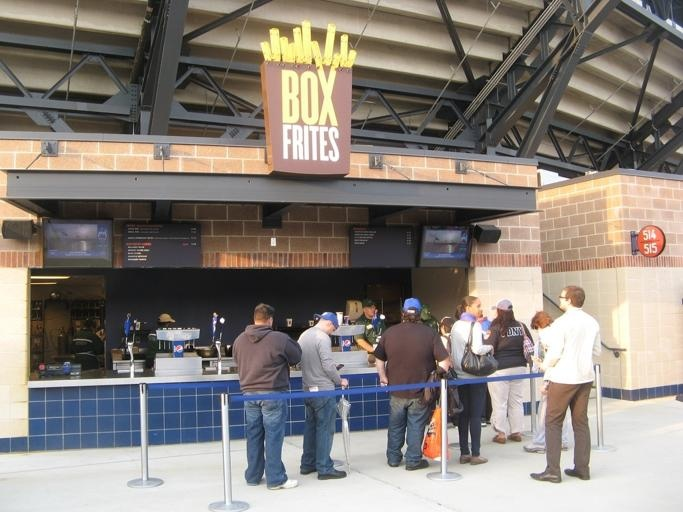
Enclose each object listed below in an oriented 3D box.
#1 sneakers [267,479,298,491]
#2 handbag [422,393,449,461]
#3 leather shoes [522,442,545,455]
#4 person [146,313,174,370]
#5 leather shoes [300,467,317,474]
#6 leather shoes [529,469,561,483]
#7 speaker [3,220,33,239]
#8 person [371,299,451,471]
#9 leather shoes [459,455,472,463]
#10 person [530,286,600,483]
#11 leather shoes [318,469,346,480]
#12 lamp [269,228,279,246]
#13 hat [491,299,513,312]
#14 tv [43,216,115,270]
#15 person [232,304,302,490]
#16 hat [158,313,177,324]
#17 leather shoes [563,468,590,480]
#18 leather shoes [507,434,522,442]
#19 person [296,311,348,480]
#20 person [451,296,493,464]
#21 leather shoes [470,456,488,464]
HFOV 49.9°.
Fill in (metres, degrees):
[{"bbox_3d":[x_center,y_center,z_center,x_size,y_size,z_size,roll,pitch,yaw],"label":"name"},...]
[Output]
[{"bbox_3d":[-0.759,2.980,9.648,0.357,0.143,0.130,-3,-1,-10],"label":"sneakers"},{"bbox_3d":[1.238,2.382,9.966,0.240,0.796,0.355,-1,3,5],"label":"handbag"},{"bbox_3d":[2.862,2.875,10.898,0.294,0.189,0.112,0,-8,32],"label":"leather shoes"},{"bbox_3d":[-3.460,1.615,13.855,0.504,0.902,2.116,-1,4,-11],"label":"person"},{"bbox_3d":[-0.469,2.966,10.191,0.078,0.081,0.199,2,1,42],"label":"leather shoes"},{"bbox_3d":[2.714,2.919,9.762,0.402,0.159,0.136,0,-4,39],"label":"leather shoes"},{"bbox_3d":[-5.033,-0.421,11.386,0.518,0.329,0.272,1,4,-15],"label":"speaker"},{"bbox_3d":[0.972,1.802,10.209,1.042,2.365,0.567,0,3,14],"label":"person"},{"bbox_3d":[1.757,2.880,10.390,0.070,0.074,0.188,-1,-3,34],"label":"leather shoes"},{"bbox_3d":[3.017,1.694,9.800,0.626,2.539,0.733,1,4,34],"label":"person"},{"bbox_3d":[-0.126,2.971,10.029,0.365,0.148,0.132,-2,-3,-9],"label":"leather shoes"},{"bbox_3d":[-1.169,-0.314,12.639,0.120,0.322,0.070,-1,3,-5],"label":"lamp"},{"bbox_3d":[2.426,0.751,11.112,0.248,0.128,0.173,3,3,31],"label":"hat"},{"bbox_3d":[-4.218,-0.215,11.715,0.889,0.606,0.114,0,-7,-15],"label":"tv"},{"bbox_3d":[-0.975,1.858,9.762,0.775,2.371,0.577,-2,3,-14],"label":"person"},{"bbox_3d":[-3.350,1.226,14.197,0.333,0.162,0.232,0,0,-28],"label":"hat"},{"bbox_3d":[3.135,2.899,9.801,0.116,0.142,0.340,-1,4,-33],"label":"leather shoes"},{"bbox_3d":[2.727,2.854,11.538,0.189,0.102,0.097,5,-1,27],"label":"leather shoes"},{"bbox_3d":[-0.285,1.910,10.050,0.678,2.204,0.523,1,4,29],"label":"person"},{"bbox_3d":[1.912,1.784,10.680,0.640,2.307,0.875,0,3,9],"label":"person"},{"bbox_3d":[1.979,2.884,10.428,0.280,0.111,0.095,-2,0,-17],"label":"leather shoes"}]
